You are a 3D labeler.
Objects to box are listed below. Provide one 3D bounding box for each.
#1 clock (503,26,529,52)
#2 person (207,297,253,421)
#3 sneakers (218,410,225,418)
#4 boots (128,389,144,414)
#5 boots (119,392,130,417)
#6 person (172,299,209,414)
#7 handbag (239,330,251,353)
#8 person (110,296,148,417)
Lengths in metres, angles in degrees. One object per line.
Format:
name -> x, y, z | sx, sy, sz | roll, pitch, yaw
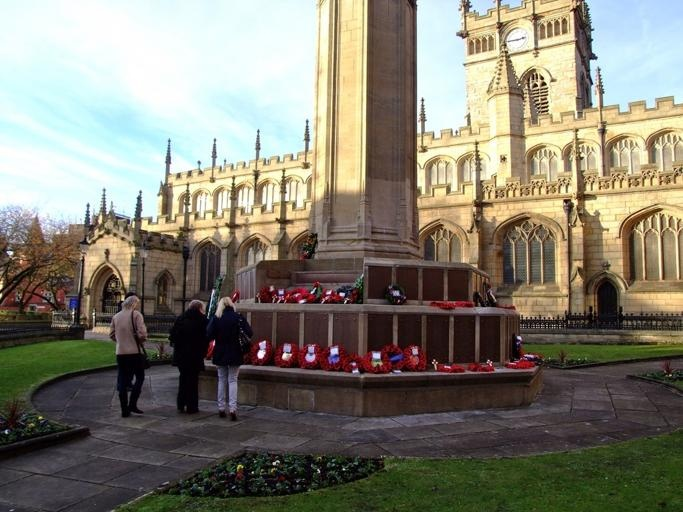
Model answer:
clock -> 16.034, -19.634, 53.473 | 0.565, 1.896, 2.104 | 0, 0, -36
person -> -2.146, 1.934, 11.301 | 0.802, 2.209, 1.213 | 0, 0, -13
sneakers -> -2.221, 2.940, 11.002 | 0.116, 0.125, 0.189 | 0, 0, -14
boots -> -3.939, 2.767, 11.288 | 0.237, 0.476, 0.542 | 0, 0, -18
boots -> -4.032, 2.756, 10.929 | 0.173, 0.454, 0.204 | 0, 0, -20
person -> -2.940, 1.956, 11.532 | 0.746, 2.135, 0.706 | 0, 0, 5
handbag -> -1.847, 1.625, 11.208 | 0.194, 0.388, 0.409 | -11, -6, 4
person -> -4.133, 1.891, 11.391 | 0.643, 2.242, 1.113 | 0, 0, -21
